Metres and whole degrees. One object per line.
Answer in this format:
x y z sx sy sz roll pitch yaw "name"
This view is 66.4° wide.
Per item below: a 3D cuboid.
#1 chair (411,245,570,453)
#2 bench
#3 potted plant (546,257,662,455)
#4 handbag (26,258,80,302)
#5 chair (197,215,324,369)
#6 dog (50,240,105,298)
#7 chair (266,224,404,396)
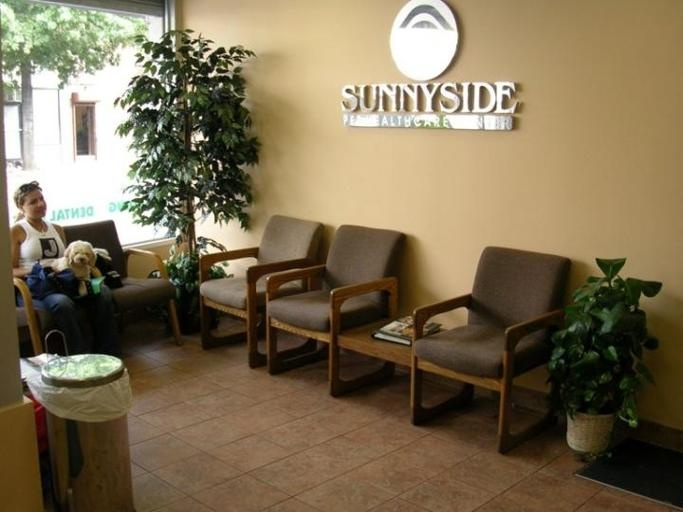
0.955 0.550 3.405 0.847 1.085 0.831 7 16 27 "chair"
-2.011 0.230 4.574 0.906 0.950 0.760 11 12 27 "bench"
1.543 0.587 3.093 0.527 1.134 0.497 9 17 31 "potted plant"
-2.226 0.182 4.114 0.262 0.392 0.411 -12 -7 36 "handbag"
-0.704 0.277 4.654 1.100 1.120 1.020 -5 11 -17 "chair"
-2.101 0.087 4.303 0.380 0.497 0.507 5 16 -21 "dog"
-0.055 0.379 4.125 0.849 1.077 0.982 7 12 33 "chair"
